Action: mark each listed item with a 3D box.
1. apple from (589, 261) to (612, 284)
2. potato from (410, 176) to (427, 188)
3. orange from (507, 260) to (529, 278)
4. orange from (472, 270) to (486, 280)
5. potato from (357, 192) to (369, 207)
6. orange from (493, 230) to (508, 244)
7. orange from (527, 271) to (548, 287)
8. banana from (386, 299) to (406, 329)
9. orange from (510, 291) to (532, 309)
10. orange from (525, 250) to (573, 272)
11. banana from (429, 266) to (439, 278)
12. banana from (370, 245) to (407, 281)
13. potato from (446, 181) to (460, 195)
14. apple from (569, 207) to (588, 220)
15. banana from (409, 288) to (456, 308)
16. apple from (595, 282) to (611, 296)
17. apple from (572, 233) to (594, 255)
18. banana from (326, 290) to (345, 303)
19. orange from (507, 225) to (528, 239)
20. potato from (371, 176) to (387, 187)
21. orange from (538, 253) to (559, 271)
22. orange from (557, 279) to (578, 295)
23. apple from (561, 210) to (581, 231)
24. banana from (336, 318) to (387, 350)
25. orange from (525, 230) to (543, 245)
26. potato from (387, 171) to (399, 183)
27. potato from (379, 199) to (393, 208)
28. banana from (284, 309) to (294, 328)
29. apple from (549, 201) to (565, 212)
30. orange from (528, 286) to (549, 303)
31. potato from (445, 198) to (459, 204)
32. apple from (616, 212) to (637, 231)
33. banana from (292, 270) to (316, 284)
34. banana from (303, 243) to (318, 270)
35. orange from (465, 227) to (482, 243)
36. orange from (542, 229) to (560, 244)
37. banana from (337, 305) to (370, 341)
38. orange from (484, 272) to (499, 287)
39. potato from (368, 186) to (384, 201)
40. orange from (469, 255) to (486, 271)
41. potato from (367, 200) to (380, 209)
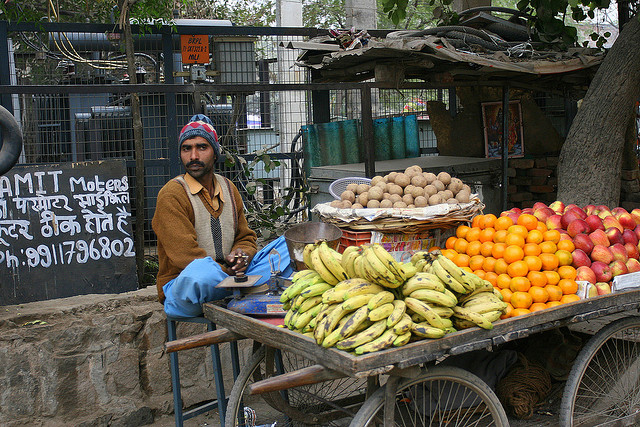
[{"bbox_3d":[2.415,0.509,5.329,0.167,0.163,0.166,24,-33,11],"label":"apple"},{"bbox_3d":[0.945,-0.291,5.842,0.110,0.054,0.111,17,23,42],"label":"potato"},{"bbox_3d":[1.663,0.474,5.166,0.153,0.111,0.111,-6,-35,8],"label":"orange"},{"bbox_3d":[1.377,0.527,5.288,0.083,0.081,0.080,0,8,6],"label":"orange"},{"bbox_3d":[0.404,-0.117,5.816,0.089,0.134,0.095,-3,6,-14],"label":"potato"},{"bbox_3d":[1.566,0.210,5.340,0.089,0.087,0.118,-3,1,-4],"label":"orange"},{"bbox_3d":[1.816,0.553,5.131,0.143,0.102,0.107,12,-10,0],"label":"orange"},{"bbox_3d":[0.554,0.724,4.448,0.149,0.075,0.292,-5,25,22],"label":"banana"},{"bbox_3d":[1.654,0.718,5.050,0.156,0.115,0.116,9,-32,-9],"label":"orange"},{"bbox_3d":[1.939,0.415,5.292,0.411,0.140,0.156,-2,-12,-5],"label":"orange"},{"bbox_3d":[0.862,0.445,4.666,0.030,0.113,0.020,-37,0,13],"label":"banana"},{"bbox_3d":[0.523,0.343,4.521,0.377,0.117,0.102,32,47,23],"label":"banana"},{"bbox_3d":[1.291,-0.228,5.974,0.120,0.134,0.116,-8,-12,24],"label":"potato"},{"bbox_3d":[2.388,0.011,5.639,0.119,0.145,0.127,7,-10,-21],"label":"apple"},{"bbox_3d":[0.887,0.616,4.575,0.432,0.112,0.114,12,3,-13],"label":"banana"},{"bbox_3d":[2.404,0.642,5.222,0.103,0.100,0.102,-7,-1,-5],"label":"apple"},{"bbox_3d":[2.291,0.281,5.356,0.109,0.140,0.114,-34,-14,-14],"label":"apple"},{"bbox_3d":[0.114,0.616,4.511,0.159,0.056,0.047,-22,44,-26],"label":"banana"},{"bbox_3d":[1.725,0.162,5.327,0.132,0.126,0.121,0,6,7],"label":"orange"},{"bbox_3d":[0.568,-0.314,5.969,0.118,0.112,0.134,-12,9,9],"label":"potato"},{"bbox_3d":[1.944,0.413,5.216,0.146,0.136,0.135,-5,-10,18],"label":"orange"},{"bbox_3d":[2.072,0.617,5.133,0.149,0.109,0.107,6,-25,-2],"label":"orange"},{"bbox_3d":[2.231,0.065,5.525,0.171,0.154,0.169,4,8,-1],"label":"apple"},{"bbox_3d":[0.331,0.888,4.414,0.421,0.135,0.106,-25,-5,-16],"label":"banana"},{"bbox_3d":[1.850,0.210,5.363,0.116,0.134,0.116,9,4,-30],"label":"orange"},{"bbox_3d":[0.712,-0.347,5.973,0.092,0.107,0.090,5,32,12],"label":"potato"},{"bbox_3d":[0.602,-0.073,5.629,0.082,0.094,0.082,-3,-8,16],"label":"potato"},{"bbox_3d":[-0.241,0.804,4.787,0.057,0.158,0.043,25,-3,-23],"label":"banana"},{"bbox_3d":[2.266,-0.057,5.872,0.109,0.102,0.111,3,4,36],"label":"apple"},{"bbox_3d":[1.806,0.676,5.107,0.144,0.104,0.107,21,-34,15],"label":"orange"},{"bbox_3d":[1.227,-0.104,5.693,0.060,0.039,0.073,8,11,40],"label":"potato"},{"bbox_3d":[2.875,0.087,5.740,0.131,0.175,0.099,-40,1,29],"label":"apple"},{"bbox_3d":[-0.128,0.510,4.869,0.175,0.047,0.062,-33,32,-28],"label":"banana"},{"bbox_3d":[-0.108,0.366,4.974,0.068,0.177,0.139,8,-2,-13],"label":"banana"},{"bbox_3d":[1.358,0.202,5.491,0.135,0.098,0.100,-21,-21,25],"label":"orange"},{"bbox_3d":[2.014,0.213,5.331,0.122,0.111,0.117,0,1,7],"label":"orange"},{"bbox_3d":[0.228,0.799,4.457,0.108,0.366,0.122,30,-27,20],"label":"banana"},{"bbox_3d":[1.458,0.564,5.225,0.115,0.112,0.109,2,9,6],"label":"orange"},{"bbox_3d":[0.520,-0.171,5.829,0.133,0.124,0.123,3,-1,-13],"label":"potato"},{"bbox_3d":[1.351,0.435,5.287,0.135,0.097,0.102,-3,3,11],"label":"orange"},{"bbox_3d":[0.492,-0.077,5.693,0.111,0.066,0.140,-1,5,6],"label":"potato"}]
